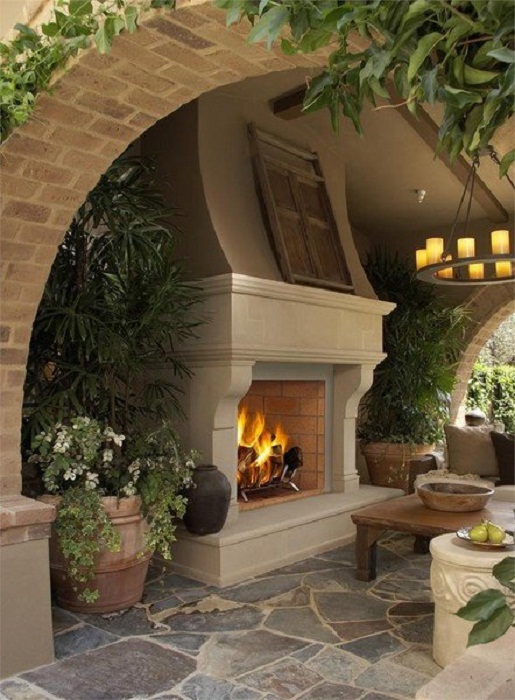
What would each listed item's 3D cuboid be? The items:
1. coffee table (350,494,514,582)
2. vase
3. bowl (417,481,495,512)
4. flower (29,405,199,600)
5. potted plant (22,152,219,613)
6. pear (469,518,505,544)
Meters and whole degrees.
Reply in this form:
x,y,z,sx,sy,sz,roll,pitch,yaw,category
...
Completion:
x,y,z,sx,sy,sz,roll,pitch,yaw,category
1.148,1.218,3.894,0.831,0.367,0.812,0,0,-45,coffee table
-0.399,1.102,4.030,0.446,0.500,0.447,0,-4,-14,vase
1.385,1.062,3.868,0.489,0.168,0.379,-2,-6,34,bowl
-0.951,1.055,3.431,0.927,1.010,0.734,-1,-3,5,flower
-0.973,0.074,3.712,1.162,2.959,1.077,2,-8,-36,potted plant
1.113,0.895,2.688,0.103,0.059,0.130,1,-2,3,pear
